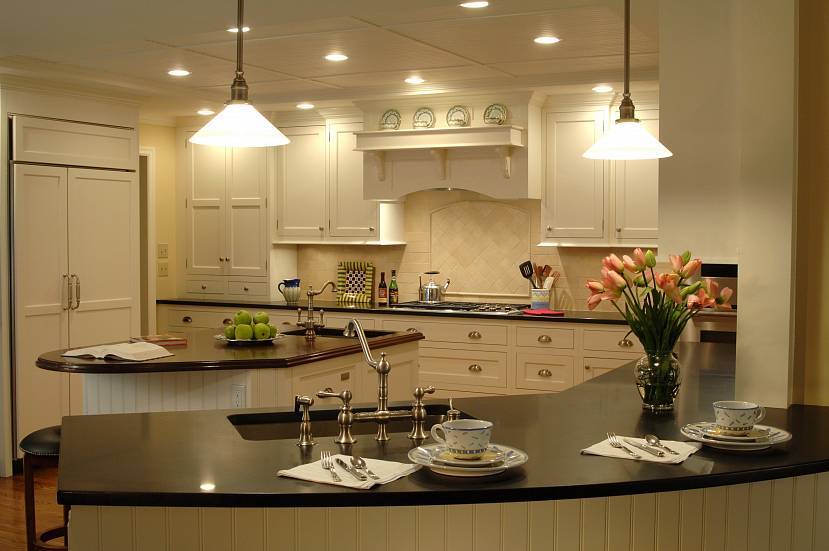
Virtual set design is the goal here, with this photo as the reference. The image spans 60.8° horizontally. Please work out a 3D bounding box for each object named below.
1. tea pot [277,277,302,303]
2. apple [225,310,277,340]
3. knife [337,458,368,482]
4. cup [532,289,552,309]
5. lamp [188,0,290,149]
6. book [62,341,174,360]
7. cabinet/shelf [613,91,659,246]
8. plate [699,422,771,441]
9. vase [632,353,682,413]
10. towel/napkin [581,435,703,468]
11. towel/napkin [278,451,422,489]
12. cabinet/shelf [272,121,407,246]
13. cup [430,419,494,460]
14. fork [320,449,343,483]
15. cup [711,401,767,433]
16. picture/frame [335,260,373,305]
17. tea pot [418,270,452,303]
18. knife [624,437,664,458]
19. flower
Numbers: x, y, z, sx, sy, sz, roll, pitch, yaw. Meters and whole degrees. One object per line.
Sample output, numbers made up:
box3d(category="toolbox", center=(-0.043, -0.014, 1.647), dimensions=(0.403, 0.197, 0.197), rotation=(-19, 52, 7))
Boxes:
box3d(category="tea pot", center=(-1.202, 0.159, 6.986), dimensions=(0.254, 0.253, 0.188), rotation=(0, 0, -2))
box3d(category="apple", center=(-1.036, 0.325, 4.487), dimensions=(0.318, 0.177, 0.182), rotation=(-2, 6, -14))
box3d(category="knife", center=(-0.207, 0.632, 2.308), dimensions=(0.036, 0.028, 0.261), rotation=(-10, 6, -21))
box3d(category="cup", center=(1.076, 0.205, 6.051), dimensions=(0.163, 0.175, 0.163), rotation=(0, -2, 0))
box3d(category="lamp", center=(-0.798, -0.925, 3.198), dimensions=(0.422, 0.648, 0.161), rotation=(-1, 6, -11))
box3d(category="book", center=(-1.716, 0.434, 4.106), dimensions=(0.624, 0.070, 0.318), rotation=(1, 5, 10))
box3d(category="cabinet/shelf", center=(1.911, -0.822, 5.895), dimensions=(0.417, 1.053, 0.459), rotation=(7, 33, 26))
box3d(category="plate", center=(1.155, 0.555, 2.535), dimensions=(0.236, 0.044, 0.179), rotation=(2, 6, 19))
box3d(category="vase", center=(1.041, 0.445, 2.999), dimensions=(0.196, 0.249, 0.203), rotation=(2, -8, -13))
box3d(category="towel/napkin", center=(0.793, 0.601, 2.478), dimensions=(0.378, 0.038, 0.240), rotation=(2, 6, 22))
box3d(category="towel/napkin", center=(-0.214, 0.638, 2.315), dimensions=(0.434, 0.039, 0.215), rotation=(1, 5, 14))
box3d(category="cabinet/shelf", center=(-0.739, -0.888, 6.952), dimensions=(1.266, 1.162, 0.423), rotation=(2, 4, 26))
box3d(category="cup", center=(0.147, 0.548, 2.347), dimensions=(0.216, 0.107, 0.158), rotation=(3, 0, 5))
box3d(category="fork", center=(-0.269, 0.624, 2.345), dimensions=(0.031, 0.026, 0.221), rotation=(-2, 11, -13))
box3d(category="cup", center=(1.167, 0.503, 2.533), dimensions=(0.143, 0.068, 0.103), rotation=(4, -9, -30))
box3d(category="picture/frame", center=(-0.627, 0.066, 6.942), dimensions=(0.453, 0.388, 0.409), rotation=(1, 6, 14))
box3d(category="tea pot", center=(0.155, 0.103, 6.657), dimensions=(0.326, 0.275, 0.376), rotation=(1, 6, 15))
box3d(category="knife", center=(0.795, 0.599, 2.453), dimensions=(0.031, 0.023, 0.231), rotation=(-7, 3, -13))
box3d(category="flower", center=(1.025, 0.253, 3.056), dimensions=(0.667, 0.665, 0.647), rotation=(1, -11, 16))
